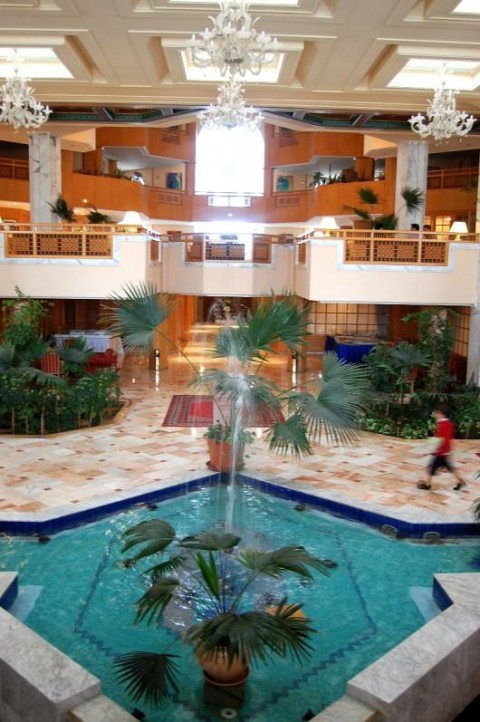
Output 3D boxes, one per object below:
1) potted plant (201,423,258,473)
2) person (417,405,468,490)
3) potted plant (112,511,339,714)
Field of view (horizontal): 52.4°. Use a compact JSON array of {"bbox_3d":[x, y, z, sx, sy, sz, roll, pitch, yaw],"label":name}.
[{"bbox_3d":[-0.177,1.290,7.412,0.714,0.547,0.709,-7,13,-40],"label":"potted plant"},{"bbox_3d":[2.903,1.191,6.961,0.604,1.236,1.046,4,7,26],"label":"person"},{"bbox_3d":[-0.110,1.730,3.315,1.190,0.862,1.166,-6,11,-44],"label":"potted plant"}]
